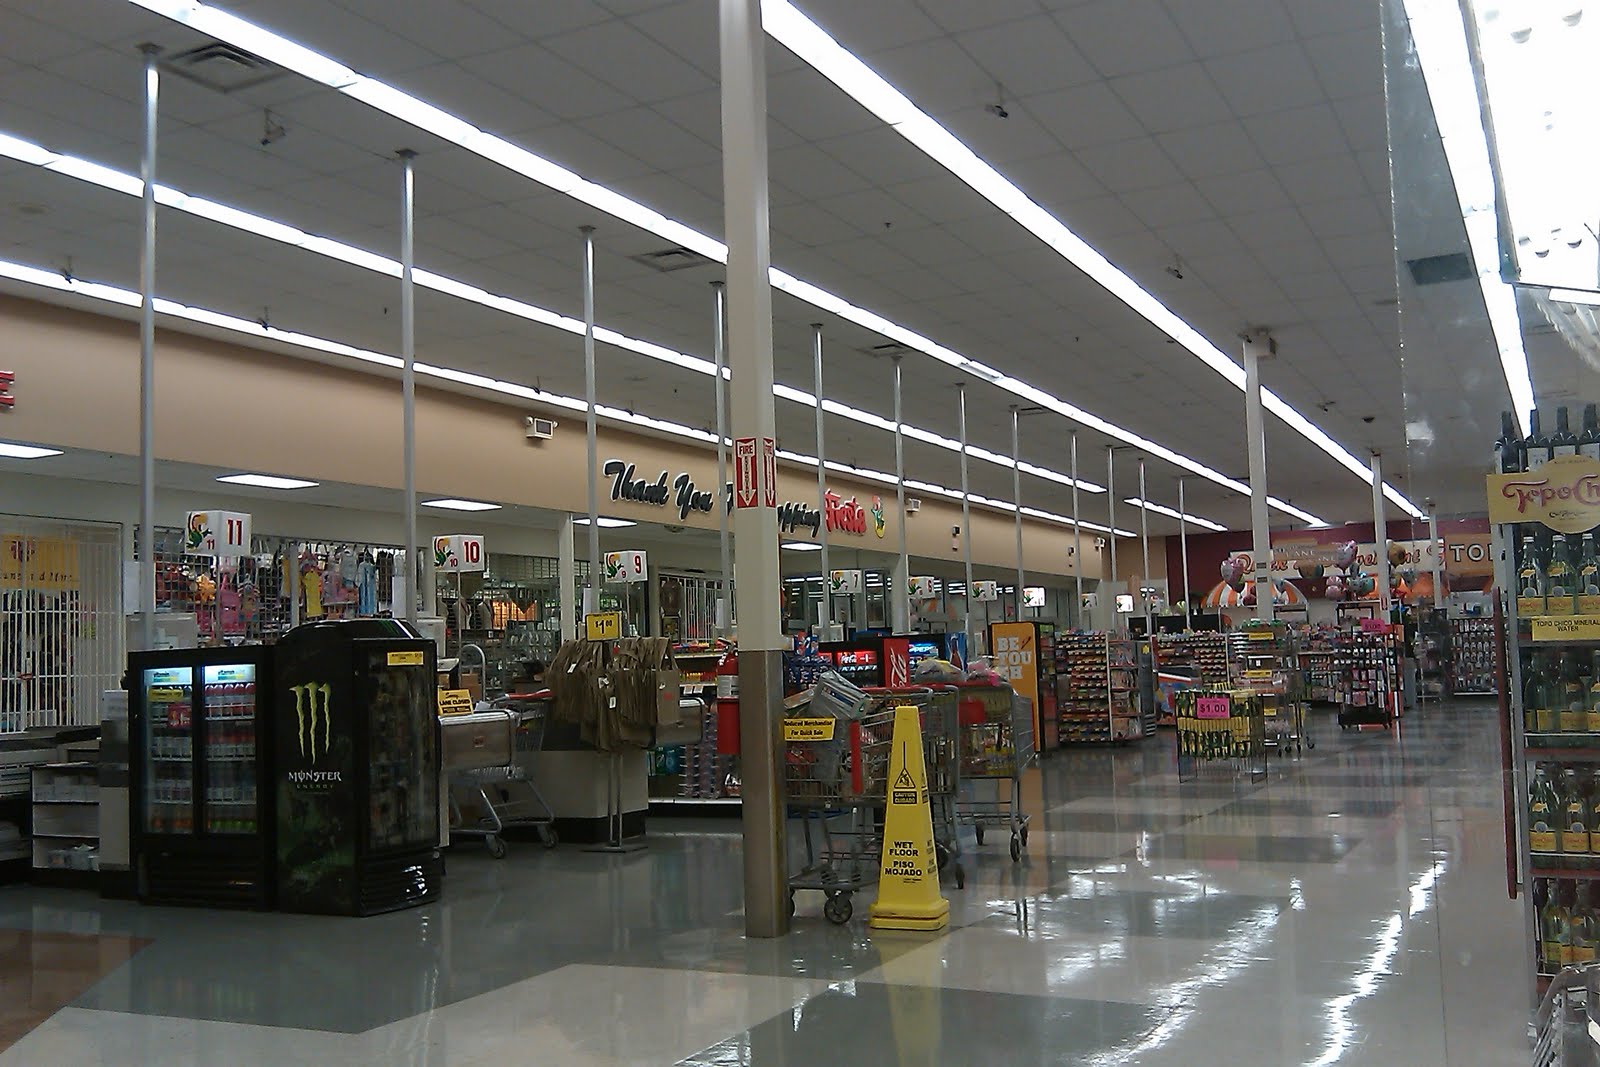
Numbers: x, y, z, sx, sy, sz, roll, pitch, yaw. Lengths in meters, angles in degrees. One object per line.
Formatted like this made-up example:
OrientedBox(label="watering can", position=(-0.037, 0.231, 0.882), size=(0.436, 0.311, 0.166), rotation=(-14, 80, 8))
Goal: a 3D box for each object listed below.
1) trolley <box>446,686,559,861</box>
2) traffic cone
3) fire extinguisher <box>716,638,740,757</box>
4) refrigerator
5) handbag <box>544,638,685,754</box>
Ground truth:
OrientedBox(label="trolley", position=(-2.904, 2.095, 11.174), size=(1.250, 1.395, 0.992), rotation=(-3, -3, 36))
OrientedBox(label="traffic cone", position=(0.688, 1.849, 8.359), size=(0.521, 1.416, 0.360), rotation=(-2, -8, 5))
OrientedBox(label="fire extinguisher", position=(-0.492, 1.148, 8.556), size=(0.197, 0.698, 0.205), rotation=(0, 1, -23))
OrientedBox(label="refrigerator", position=(-3.964, 1.751, 9.741), size=(2.256, 2.102, 0.835), rotation=(-5, -7, 21))
OrientedBox(label="handbag", position=(-1.638, 1.411, 11.212), size=(1.107, 0.961, 0.442), rotation=(-1, -8, -4))
